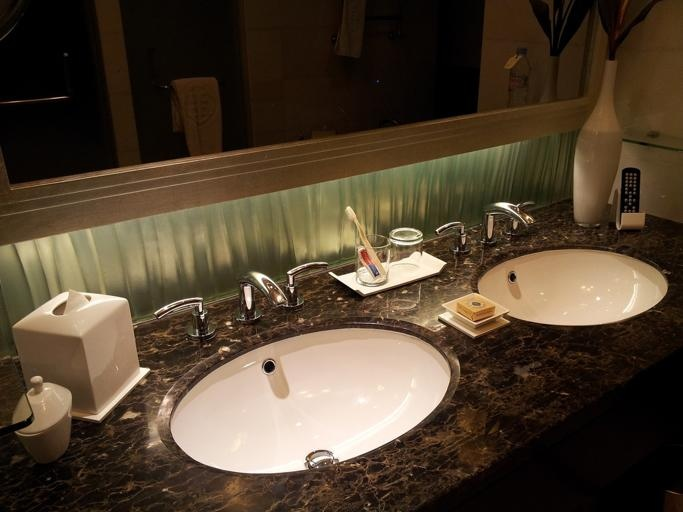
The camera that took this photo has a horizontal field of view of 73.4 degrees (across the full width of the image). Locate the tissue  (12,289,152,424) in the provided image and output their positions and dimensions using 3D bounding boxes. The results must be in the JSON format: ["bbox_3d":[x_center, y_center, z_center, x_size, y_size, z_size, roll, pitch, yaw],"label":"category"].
[{"bbox_3d":[-0.555,0.191,0.954,0.230,0.211,0.235,-10,23,-31],"label":"tissue "}]

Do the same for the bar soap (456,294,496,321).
[{"bbox_3d":[0.341,0.134,1.173,0.082,0.038,0.096,18,35,42],"label":"bar soap"}]

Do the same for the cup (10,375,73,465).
[{"bbox_3d":[-0.532,0.294,0.829,0.078,0.164,0.078,-5,25,2],"label":"cup"}]

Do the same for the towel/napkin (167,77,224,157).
[{"bbox_3d":[-0.338,-0.322,1.042,0.125,0.217,0.033,-19,36,-33],"label":"towel/napkin"}]

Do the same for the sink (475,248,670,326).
[{"bbox_3d":[0.701,0.098,1.452,0.544,0.186,0.275,-1,25,11],"label":"sink"}]

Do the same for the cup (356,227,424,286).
[{"bbox_3d":[0.138,-0.019,1.399,0.231,0.151,0.118,-24,42,-25],"label":"cup"}]

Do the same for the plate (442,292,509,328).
[{"bbox_3d":[0.347,0.139,1.176,0.152,0.037,0.159,7,23,24],"label":"plate"}]

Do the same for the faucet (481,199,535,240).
[{"bbox_3d":[0.532,-0.106,1.552,0.153,0.134,0.185,-2,-5,15],"label":"faucet"}]

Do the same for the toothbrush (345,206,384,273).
[{"bbox_3d":[0.061,-0.045,1.365,0.032,0.236,0.020,-25,24,2],"label":"toothbrush"}]

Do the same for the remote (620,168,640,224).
[{"bbox_3d":[1.010,-0.210,1.607,0.071,0.161,0.121,9,29,29],"label":"remote"}]

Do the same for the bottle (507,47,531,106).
[{"bbox_3d":[0.591,-0.597,1.544,0.096,0.181,0.043,15,27,32],"label":"bottle"}]
